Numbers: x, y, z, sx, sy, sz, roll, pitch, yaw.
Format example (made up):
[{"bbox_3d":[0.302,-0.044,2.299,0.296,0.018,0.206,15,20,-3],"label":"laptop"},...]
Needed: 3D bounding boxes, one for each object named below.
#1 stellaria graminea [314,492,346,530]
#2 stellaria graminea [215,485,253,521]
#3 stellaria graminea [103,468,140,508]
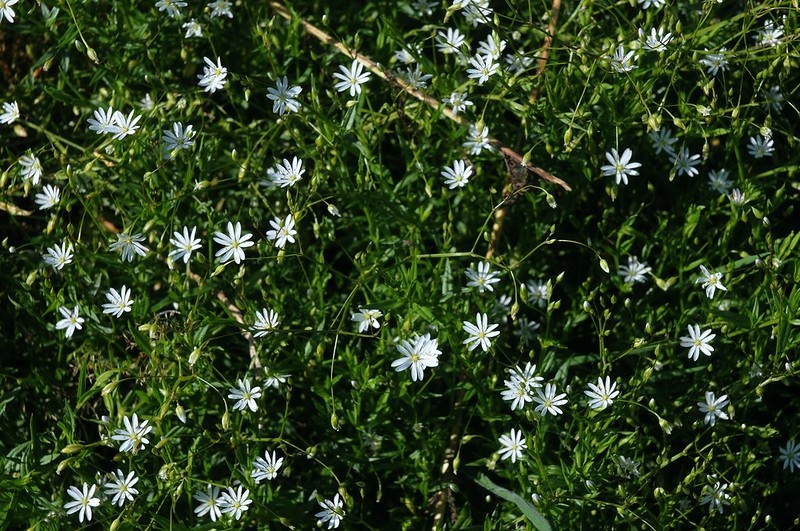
[{"bbox_3d":[-0.263,0.909,3.317,0.117,0.055,0.163,7,98,27],"label":"stellaria graminea"},{"bbox_3d":[-0.602,0.856,3.248,0.115,0.048,0.130,33,86,10],"label":"stellaria graminea"},{"bbox_3d":[-1.011,0.805,3.243,0.127,0.038,0.138,-33,81,4],"label":"stellaria graminea"}]
